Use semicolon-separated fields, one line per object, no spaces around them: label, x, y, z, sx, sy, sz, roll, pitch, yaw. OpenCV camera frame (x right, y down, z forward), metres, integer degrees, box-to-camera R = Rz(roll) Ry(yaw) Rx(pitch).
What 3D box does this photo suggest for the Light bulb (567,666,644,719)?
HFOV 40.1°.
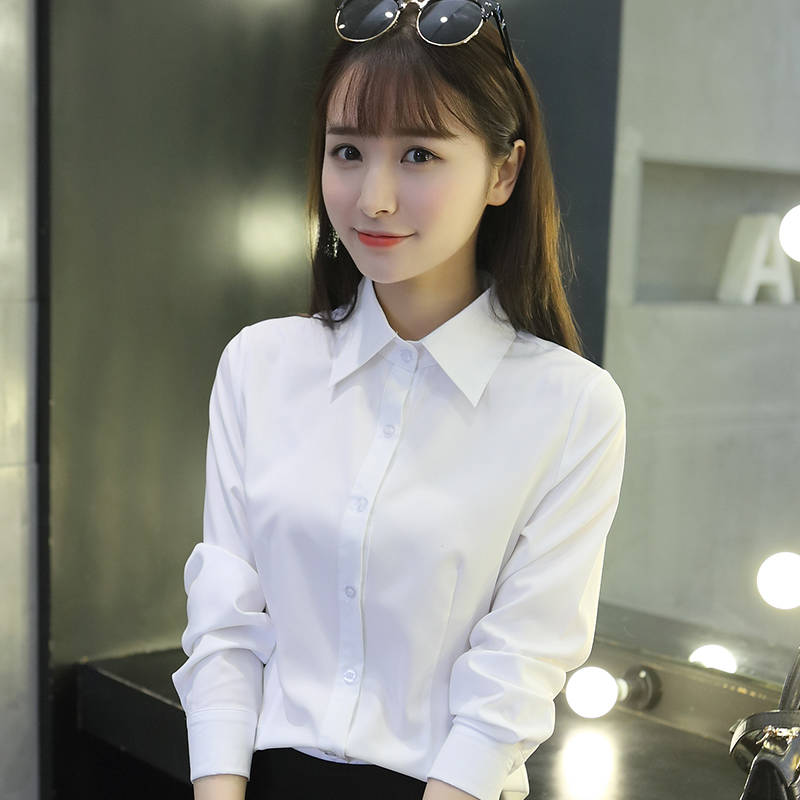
Light bulb;0.319;0.439;1.695;0.079;0.080;0.069;3;19;-26
